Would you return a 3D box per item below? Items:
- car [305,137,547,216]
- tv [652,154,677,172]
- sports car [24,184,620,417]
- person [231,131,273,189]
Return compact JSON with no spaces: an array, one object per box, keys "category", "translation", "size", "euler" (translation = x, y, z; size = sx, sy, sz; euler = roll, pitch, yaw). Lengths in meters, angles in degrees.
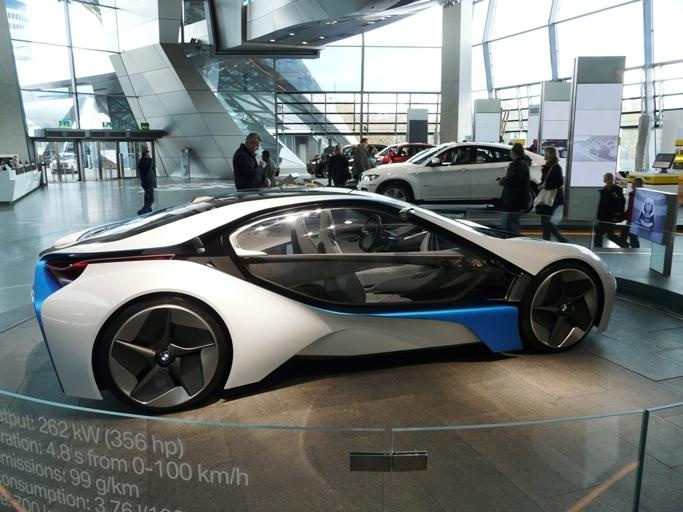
[{"category":"car","translation":[2.371,-1.896,11.282],"size":[4.769,1.315,1.832],"euler":[1,5,0]},{"category":"tv","translation":[12.017,-3.456,16.813],"size":[0.450,0.670,0.919],"euler":[0,13,-14]},{"category":"sports car","translation":[-0.007,0.201,3.836],"size":[3.908,0.943,2.089],"euler":[-4,4,-11]},{"category":"person","translation":[-1.596,-1.660,8.050],"size":[0.635,1.028,0.994],"euler":[1,13,-11]}]
